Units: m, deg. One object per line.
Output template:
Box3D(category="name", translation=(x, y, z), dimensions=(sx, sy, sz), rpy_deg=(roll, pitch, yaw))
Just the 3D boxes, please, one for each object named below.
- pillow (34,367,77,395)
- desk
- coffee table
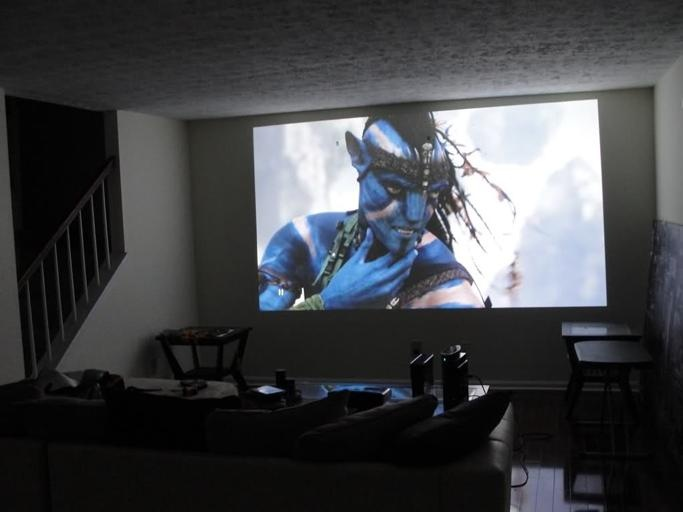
Box3D(category="pillow", translation=(-1.907, 0.836, 4.070), dimensions=(0.198, 0.059, 0.202), rpy_deg=(26, 4, -18))
Box3D(category="desk", translation=(2.175, 1.041, 5.269), dimensions=(0.717, 0.653, 1.603), rpy_deg=(12, 10, 20))
Box3D(category="coffee table", translation=(-1.417, 0.954, 6.390), dimensions=(0.717, 0.706, 0.732), rpy_deg=(-2, 2, 5))
